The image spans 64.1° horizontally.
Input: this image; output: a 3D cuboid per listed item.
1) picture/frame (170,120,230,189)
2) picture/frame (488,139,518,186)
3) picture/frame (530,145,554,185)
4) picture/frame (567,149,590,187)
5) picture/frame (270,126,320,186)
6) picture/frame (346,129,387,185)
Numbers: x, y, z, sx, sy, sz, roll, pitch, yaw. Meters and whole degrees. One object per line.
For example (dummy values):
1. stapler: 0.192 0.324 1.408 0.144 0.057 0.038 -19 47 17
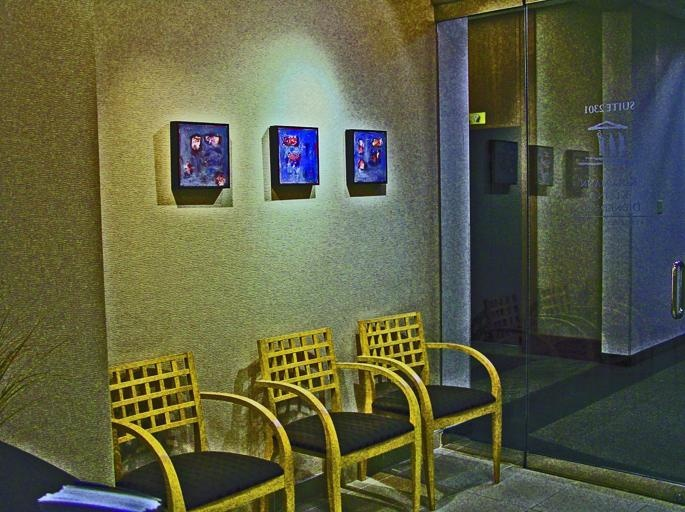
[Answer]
1. picture/frame: -0.830 -0.581 3.115 0.490 0.378 0.067 -6 11 -40
2. picture/frame: 1.264 -0.723 4.265 0.074 0.358 0.230 -12 13 -41
3. picture/frame: 1.493 -0.676 4.087 0.045 0.311 0.176 -11 12 -37
4. picture/frame: 1.695 -0.621 3.915 0.040 0.273 0.157 -11 12 -38
5. picture/frame: -0.327 -0.655 3.558 0.163 0.384 0.492 -3 -5 42
6. picture/frame: 0.162 -0.724 3.970 0.519 0.435 0.103 -4 2 -42
